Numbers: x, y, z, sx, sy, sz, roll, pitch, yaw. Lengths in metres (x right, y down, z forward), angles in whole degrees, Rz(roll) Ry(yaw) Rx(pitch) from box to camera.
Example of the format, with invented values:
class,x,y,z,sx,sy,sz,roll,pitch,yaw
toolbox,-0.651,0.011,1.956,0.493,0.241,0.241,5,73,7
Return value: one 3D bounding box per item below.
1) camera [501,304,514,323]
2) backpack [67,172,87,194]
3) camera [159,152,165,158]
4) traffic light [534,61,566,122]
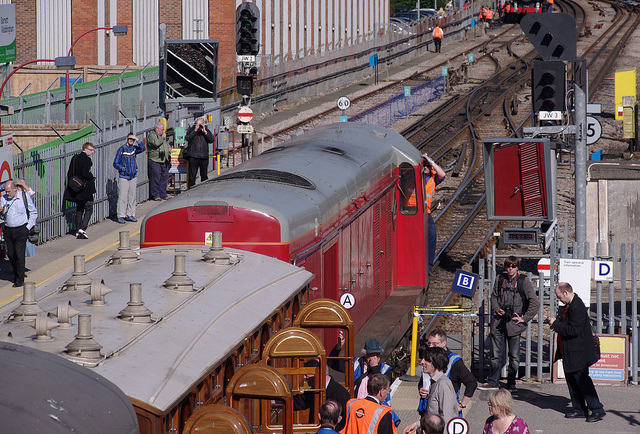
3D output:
class,x,y,z,sx,sy,sz,roll,pitch,yaw
camera,4.130,2.095,36.344,0.331,0.357,0.316,14,-43,-8
backpack,-6.331,-0.859,43.078,0.458,0.371,0.166,29,-6,3
camera,-4.442,-1.757,46.457,0.192,0.188,0.104,-1,-6,14
traffic light,5.734,-3.178,40.756,0.771,1.508,0.819,1,28,10
